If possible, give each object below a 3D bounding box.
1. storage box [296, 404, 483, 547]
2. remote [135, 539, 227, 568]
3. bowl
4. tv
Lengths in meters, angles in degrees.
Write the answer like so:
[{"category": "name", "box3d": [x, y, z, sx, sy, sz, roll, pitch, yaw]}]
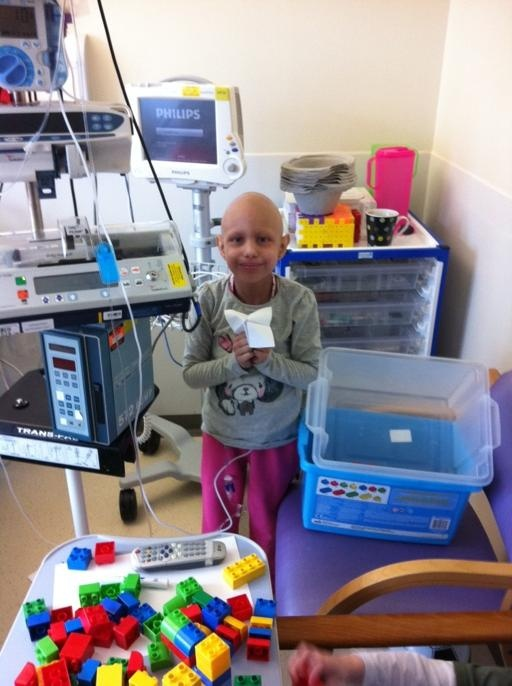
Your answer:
[{"category": "storage box", "box3d": [0.292, 0.301, 1.220, 0.389, 0.231, 0.285, 2, 28, -2]}, {"category": "remote", "box3d": [-0.117, 0.328, 0.804, 0.120, 0.028, 0.051, -1, 13, -3]}, {"category": "bowl", "box3d": [0.245, -0.590, 1.880, 0.251, 0.171, 0.248, -5, 31, 3]}, {"category": "tv", "box3d": [-0.222, -0.696, 1.766, 0.399, 0.330, 0.168, 9, 26, 15]}]
